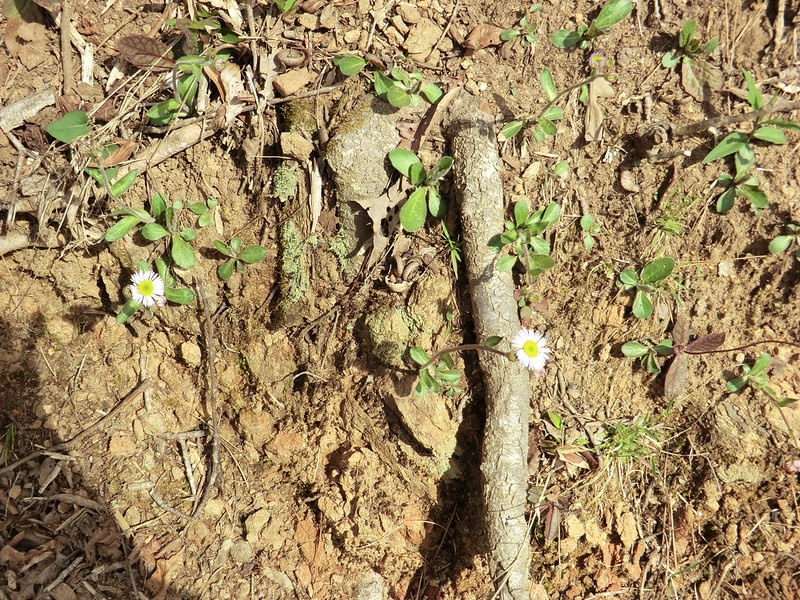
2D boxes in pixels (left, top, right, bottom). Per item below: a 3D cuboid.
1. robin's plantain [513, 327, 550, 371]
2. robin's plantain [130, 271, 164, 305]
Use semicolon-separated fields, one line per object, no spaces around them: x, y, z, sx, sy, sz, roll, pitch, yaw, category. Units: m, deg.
0.748;0.271;4.014;0.242;0.053;0.300;17;53;0;robin's plantain
-1.519;-0.067;4.192;0.188;0.157;0.190;-18;69;-8;robin's plantain
